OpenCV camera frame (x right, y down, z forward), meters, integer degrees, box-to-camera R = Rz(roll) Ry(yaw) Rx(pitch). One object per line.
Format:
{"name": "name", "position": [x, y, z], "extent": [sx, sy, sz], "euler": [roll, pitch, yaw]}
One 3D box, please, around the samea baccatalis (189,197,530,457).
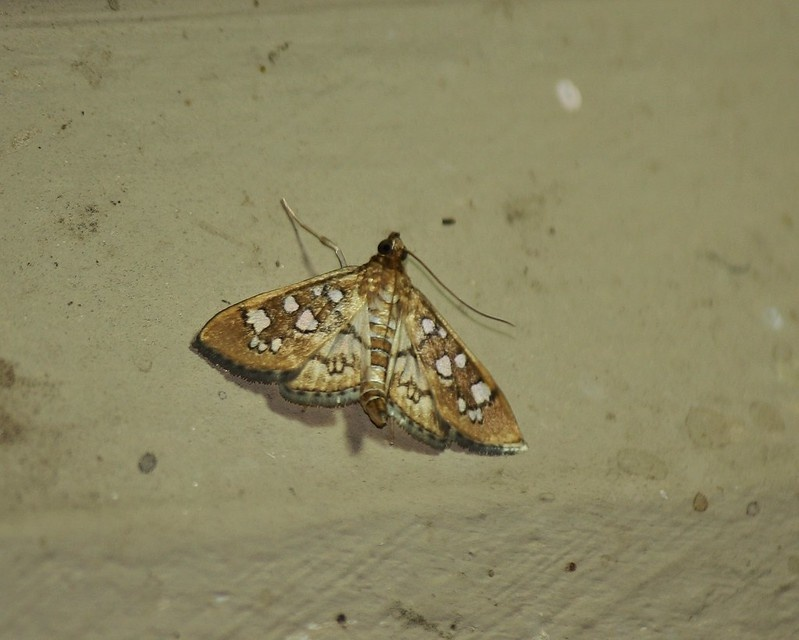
{"name": "samea baccatalis", "position": [-0.207, 0.111, 14.088], "extent": [3.208, 0.945, 2.058], "euler": [25, 76, -8]}
